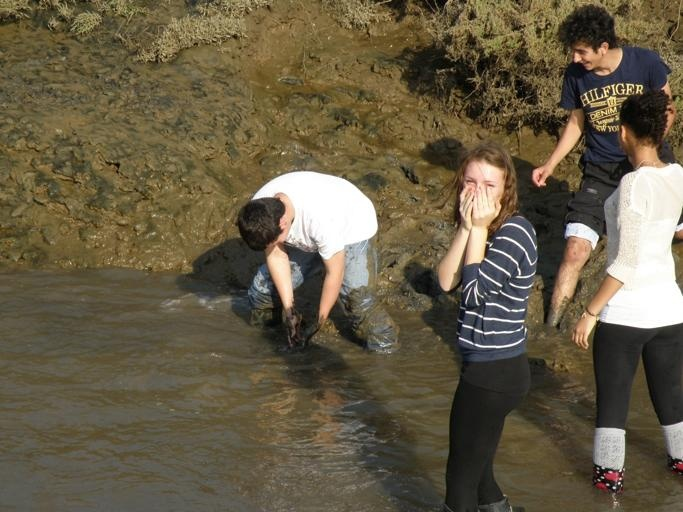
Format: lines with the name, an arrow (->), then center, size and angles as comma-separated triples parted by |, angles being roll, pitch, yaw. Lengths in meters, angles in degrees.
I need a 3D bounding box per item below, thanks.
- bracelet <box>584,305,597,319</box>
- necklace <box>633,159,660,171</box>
bracelet -> 2.118, 0.486, 8.002 | 0.112, 0.073, 0.103 | 8, 17, 1
necklace -> 2.586, -0.784, 7.969 | 0.252, 0.086, 0.203 | 7, 12, 18
